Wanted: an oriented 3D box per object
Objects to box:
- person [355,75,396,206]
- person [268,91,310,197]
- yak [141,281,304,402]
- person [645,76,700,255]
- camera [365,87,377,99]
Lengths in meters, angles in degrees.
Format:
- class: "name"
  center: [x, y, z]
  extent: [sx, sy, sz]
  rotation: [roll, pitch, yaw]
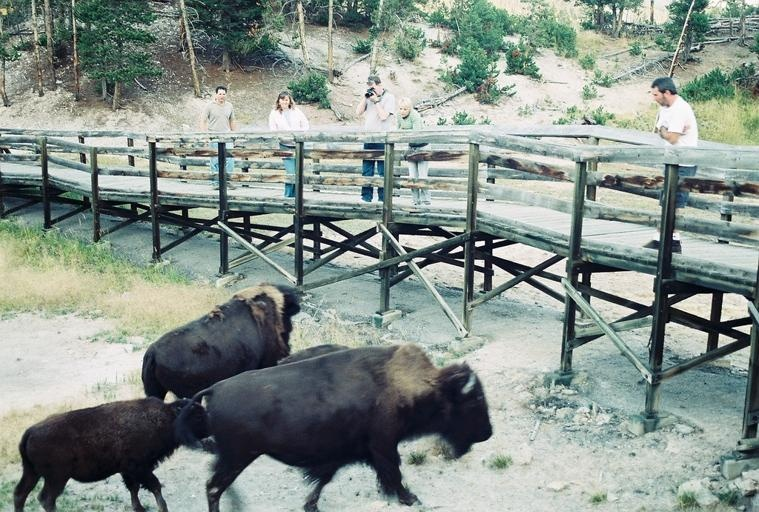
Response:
- class: "person"
  center: [-0.215, -2.334, 18.400]
  extent: [0.859, 2.563, 0.807]
  rotation: [15, 29, 27]
- class: "person"
  center: [-2.010, -2.400, 19.369]
  extent: [0.982, 2.202, 0.846]
  rotation: [-2, 19, -4]
- class: "yak"
  center: [-2.477, 1.523, 14.736]
  extent: [2.685, 1.435, 1.286]
  rotation: [-30, 67, -19]
- class: "person"
  center: [5.210, -1.606, 16.023]
  extent: [1.045, 3.010, 1.087]
  rotation: [2, 16, 20]
- class: "camera"
  center: [-0.211, -3.305, 18.215]
  extent: [0.170, 0.214, 0.103]
  rotation: [3, -12, 4]
